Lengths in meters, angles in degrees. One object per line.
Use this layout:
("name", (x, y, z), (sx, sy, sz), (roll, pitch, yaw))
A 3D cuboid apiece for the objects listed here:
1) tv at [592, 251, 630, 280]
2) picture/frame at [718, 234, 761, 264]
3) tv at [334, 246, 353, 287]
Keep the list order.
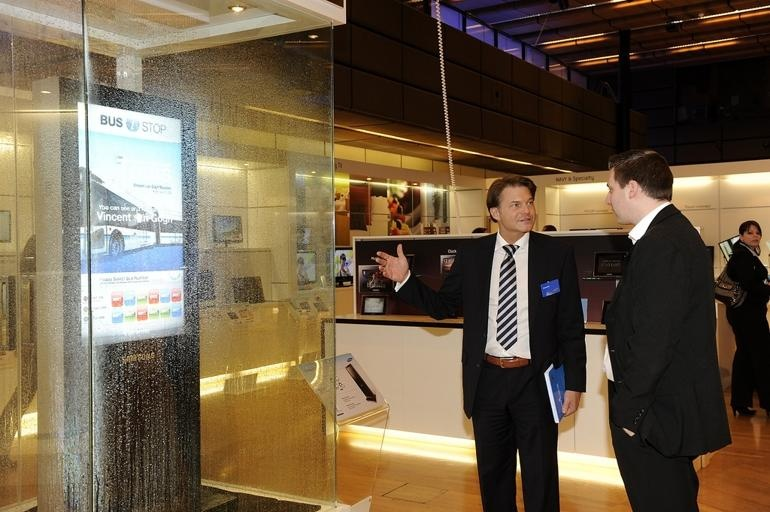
("tv", (1.820, 0.087, 4.626), (0.242, 0.213, 0.094), (-1, -7, 22))
("picture/frame", (4.240, -0.070, 6.854), (0.419, 0.288, 0.222), (-14, 0, 31))
("tv", (-0.693, 0.187, 9.364), (0.144, 0.651, 0.462), (-1, 3, 26))
